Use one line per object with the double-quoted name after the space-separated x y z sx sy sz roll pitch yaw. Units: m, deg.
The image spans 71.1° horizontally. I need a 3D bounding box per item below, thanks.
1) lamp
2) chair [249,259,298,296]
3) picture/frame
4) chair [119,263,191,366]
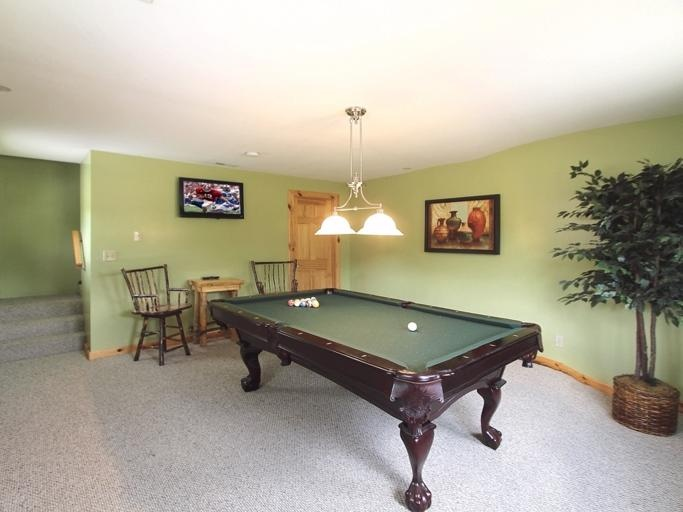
0.150 -0.858 4.704 0.701 1.153 1.216 -23 30 -38 "lamp"
-0.907 0.289 6.834 0.559 0.767 0.557 -1 -2 -30 "chair"
1.542 -0.399 5.943 0.034 0.597 0.937 -1 0 -40 "picture/frame"
-2.145 0.626 5.660 0.723 1.055 0.859 -7 14 -18 "chair"
